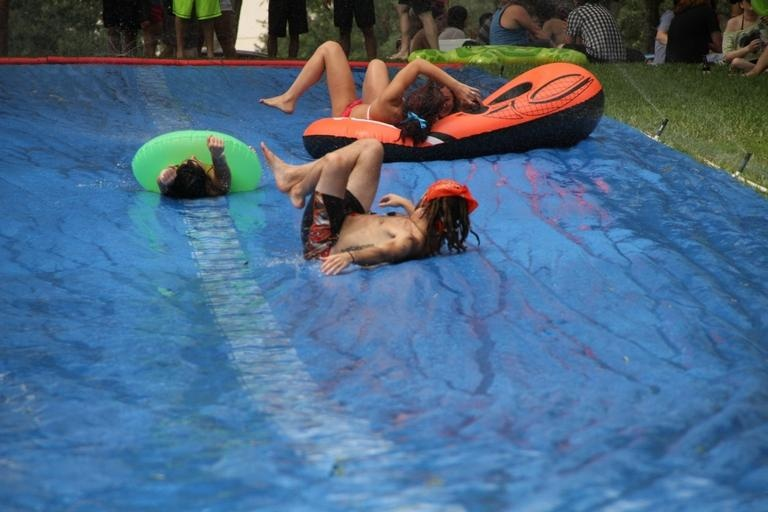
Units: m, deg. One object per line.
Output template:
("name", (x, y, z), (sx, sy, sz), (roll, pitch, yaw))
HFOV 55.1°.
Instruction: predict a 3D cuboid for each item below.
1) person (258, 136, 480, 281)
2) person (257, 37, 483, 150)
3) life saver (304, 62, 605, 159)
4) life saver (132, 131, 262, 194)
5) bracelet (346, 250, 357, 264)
("person", (-0.168, -0.335, 4.972), (1.877, 0.692, 0.992), (12, 31, 34))
("person", (-0.123, -1.440, 6.615), (1.846, 0.522, 1.011), (5, 10, 15))
("life saver", (0.659, -1.357, 6.583), (2.531, 0.556, 1.006), (-5, 12, -2))
("life saver", (-1.523, -0.836, 6.133), (0.952, 0.247, 0.822), (-4, -5, -5))
("bracelet", (-0.210, 0.004, 4.710), (0.033, 0.073, 0.071), (-20, 3, -23))
